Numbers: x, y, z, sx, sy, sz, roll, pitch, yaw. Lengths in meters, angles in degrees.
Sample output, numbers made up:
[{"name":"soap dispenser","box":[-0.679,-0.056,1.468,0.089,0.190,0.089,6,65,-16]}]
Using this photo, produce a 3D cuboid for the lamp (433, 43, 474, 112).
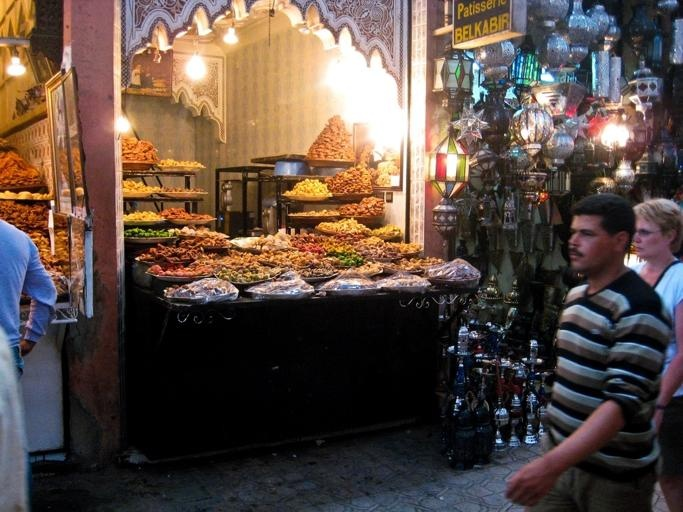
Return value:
[{"name":"lamp","box":[1.120,-1.758,6.409,0.387,0.621,0.279,-1,2,8]}]

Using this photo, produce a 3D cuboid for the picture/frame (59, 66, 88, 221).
[{"name":"picture/frame","box":[-1.928,-0.810,4.582,0.057,1.117,1.005,-2,-11,-31]}]

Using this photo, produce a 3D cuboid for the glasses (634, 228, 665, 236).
[{"name":"glasses","box":[1.688,-0.126,3.528,0.101,0.029,0.096,3,1,0]}]

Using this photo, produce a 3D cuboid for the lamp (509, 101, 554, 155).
[{"name":"lamp","box":[1.806,-1.200,6.045,0.458,0.540,0.475,-2,4,-1]}]
